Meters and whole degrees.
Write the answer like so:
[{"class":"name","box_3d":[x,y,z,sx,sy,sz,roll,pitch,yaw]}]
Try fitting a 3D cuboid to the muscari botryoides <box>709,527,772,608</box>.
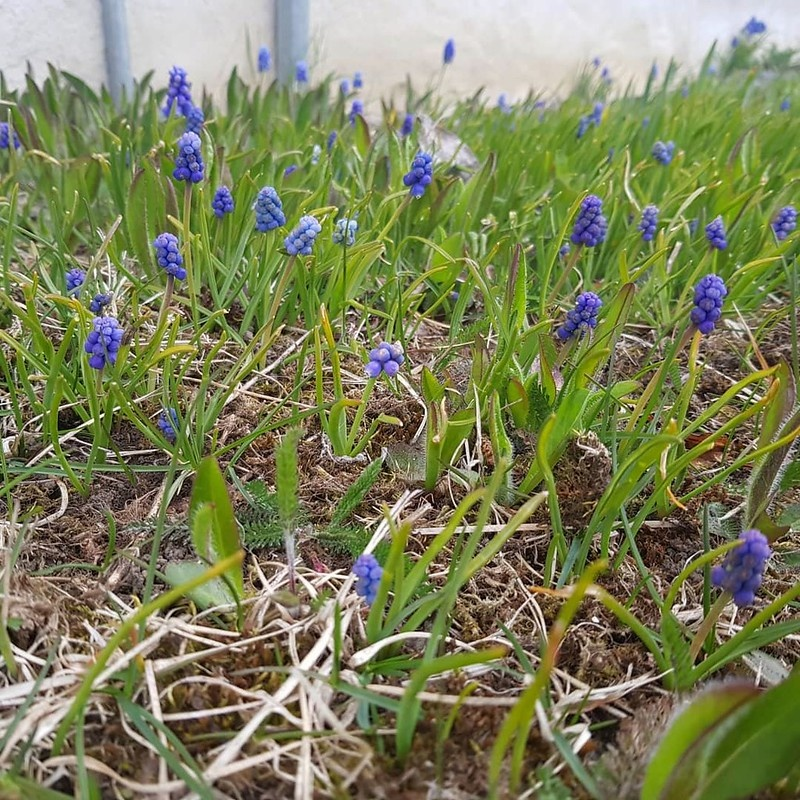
[{"class":"muscari botryoides","box_3d":[0.542,0.235,1.223,0.086,0.093,0.188,-3,9,26]}]
